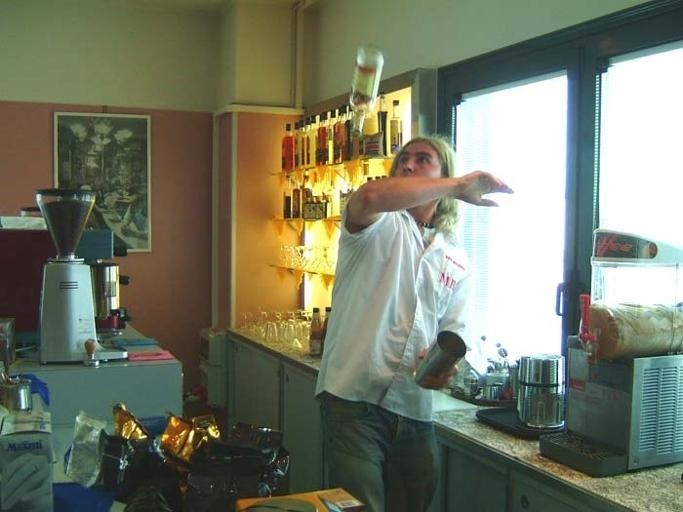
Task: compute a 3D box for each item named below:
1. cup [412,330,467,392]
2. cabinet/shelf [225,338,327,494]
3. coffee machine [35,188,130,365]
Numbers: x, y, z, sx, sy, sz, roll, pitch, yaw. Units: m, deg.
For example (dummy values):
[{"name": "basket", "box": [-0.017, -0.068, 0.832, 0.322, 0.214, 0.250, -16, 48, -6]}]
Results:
[{"name": "cup", "box": [0.356, 0.376, 2.446, 0.181, 0.204, 0.093, -1, 1, 6]}, {"name": "cabinet/shelf", "box": [-0.493, 1.088, 4.279, 0.316, 0.870, 0.886, -34, -51, 28]}, {"name": "coffee machine", "box": [-1.210, 0.103, 3.142, 0.364, 0.807, 0.228, -1, 1, -26]}]
